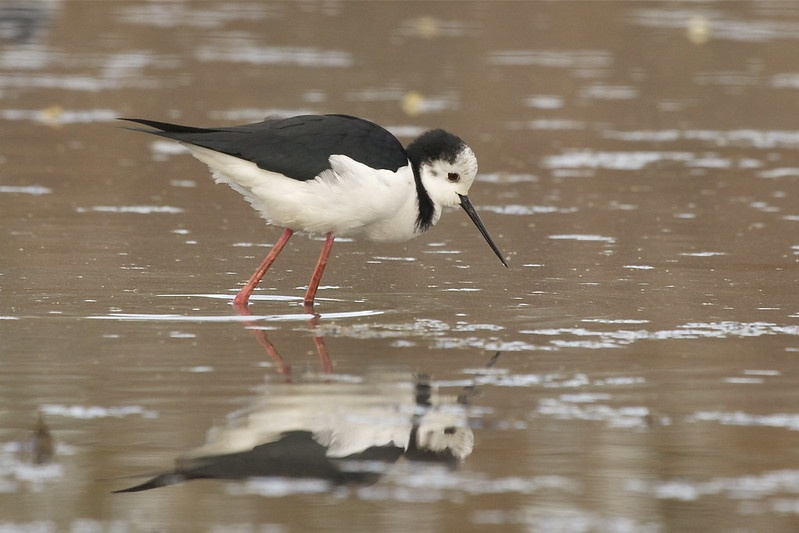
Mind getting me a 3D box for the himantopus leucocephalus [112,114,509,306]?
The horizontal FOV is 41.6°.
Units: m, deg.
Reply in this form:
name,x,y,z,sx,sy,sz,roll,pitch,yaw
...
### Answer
name,x,y,z,sx,sy,sz,roll,pitch,yaw
himantopus leucocephalus,-0.695,-0.333,9.222,4.279,1.872,1.927,2,-70,0
